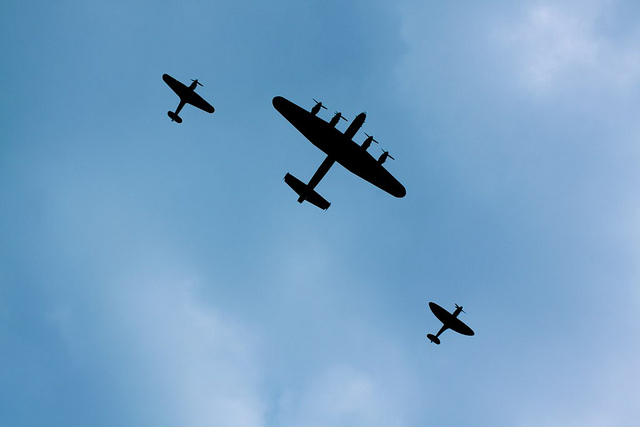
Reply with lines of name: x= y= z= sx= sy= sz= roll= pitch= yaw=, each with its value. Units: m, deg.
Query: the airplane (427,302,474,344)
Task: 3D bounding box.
airplane: x=8.508 y=7.627 z=65.255 sx=2.879 sy=3.490 sz=2.516 roll=-9 pitch=-75 yaw=1

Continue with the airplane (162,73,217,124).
airplane: x=-8.932 y=-7.869 z=65.665 sx=2.826 sy=2.332 sz=2.927 roll=-10 pitch=-75 yaw=0

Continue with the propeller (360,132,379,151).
propeller: x=3.213 y=-4.425 z=65.205 sx=0.624 sy=3.762 sz=1.181 roll=16 pitch=-75 yaw=-6

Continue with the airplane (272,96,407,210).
airplane: x=1.159 y=-3.745 z=66.998 sx=9.516 sy=2.071 sz=6.785 roll=8 pitch=-77 yaw=-5
